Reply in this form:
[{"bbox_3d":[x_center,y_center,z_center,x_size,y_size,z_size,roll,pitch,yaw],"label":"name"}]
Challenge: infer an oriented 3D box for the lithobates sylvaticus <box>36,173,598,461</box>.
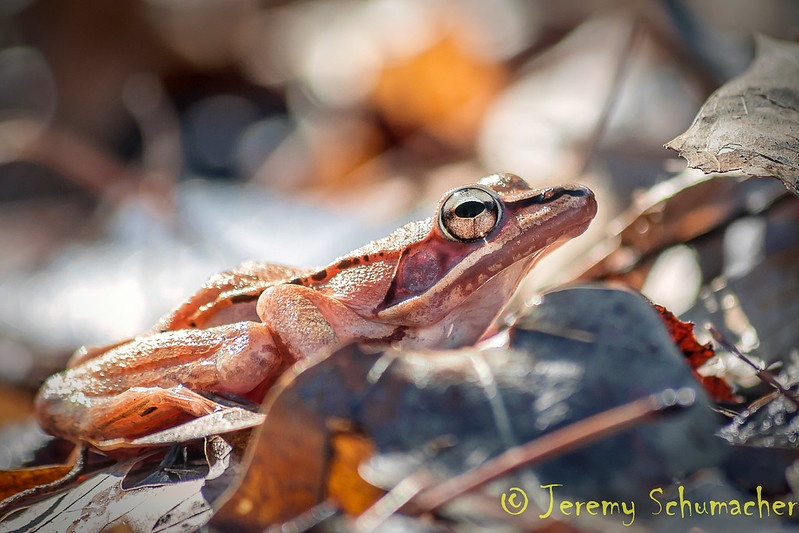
[{"bbox_3d":[-0.162,0.082,2.040,1.139,0.387,0.931,-7,5,10],"label":"lithobates sylvaticus"}]
